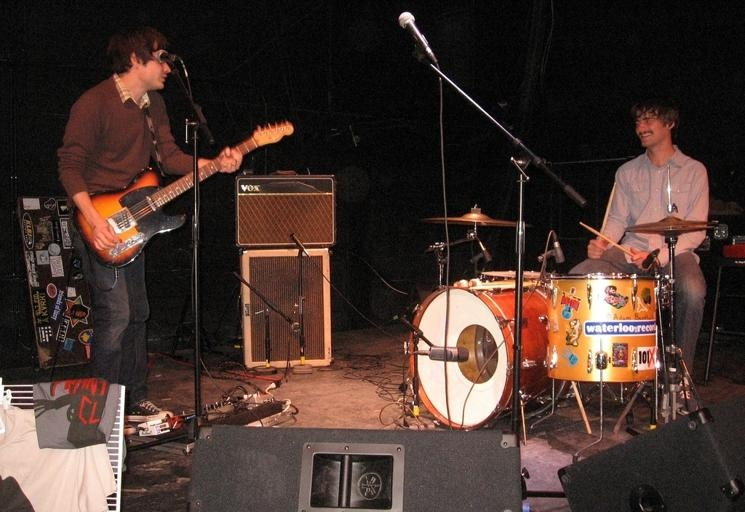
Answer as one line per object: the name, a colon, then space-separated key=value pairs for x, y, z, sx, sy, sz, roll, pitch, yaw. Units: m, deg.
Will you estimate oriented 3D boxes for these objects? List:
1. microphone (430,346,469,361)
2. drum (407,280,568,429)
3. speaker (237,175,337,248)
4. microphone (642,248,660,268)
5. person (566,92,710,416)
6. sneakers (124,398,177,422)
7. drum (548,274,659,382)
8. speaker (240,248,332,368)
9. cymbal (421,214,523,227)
microphone: x=0.469 y=0.613 z=4.157 sx=0.190 sy=0.095 sz=0.169 roll=3 pitch=-9 yaw=-30
drum: x=0.671 y=0.630 z=4.246 sx=0.916 sy=0.901 sz=0.656 roll=-3 pitch=-8 yaw=10
speaker: x=-0.778 y=-0.294 z=5.880 sx=1.016 sy=0.798 sz=0.569 roll=0 pitch=0 yaw=-7
microphone: x=1.794 y=0.019 z=4.293 sx=0.104 sy=0.136 sz=0.169 roll=-4 pitch=-8 yaw=21
person: x=1.952 y=-0.158 z=4.587 sx=1.114 sy=1.857 sz=0.944 roll=-3 pitch=5 yaw=-42
sneakers: x=-1.438 y=1.004 z=4.354 sx=0.353 sy=0.143 sz=0.133 roll=-2 pitch=-4 yaw=9
drum: x=1.491 y=0.456 z=4.296 sx=0.721 sy=0.665 sz=0.717 roll=4 pitch=-5 yaw=-42
speaker: x=-0.790 y=0.429 z=5.753 sx=1.015 sy=1.298 sz=0.551 roll=0 pitch=0 yaw=-8
cymbal: x=0.842 y=-0.323 z=6.100 sx=0.491 sy=0.096 sz=0.497 roll=1 pitch=2 yaw=10
